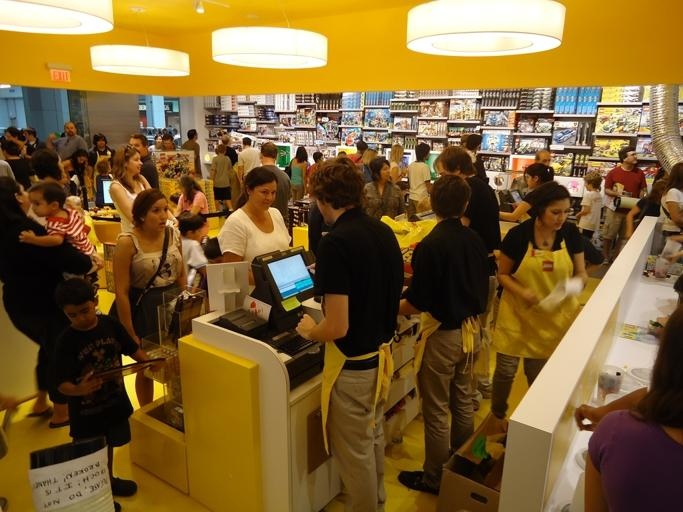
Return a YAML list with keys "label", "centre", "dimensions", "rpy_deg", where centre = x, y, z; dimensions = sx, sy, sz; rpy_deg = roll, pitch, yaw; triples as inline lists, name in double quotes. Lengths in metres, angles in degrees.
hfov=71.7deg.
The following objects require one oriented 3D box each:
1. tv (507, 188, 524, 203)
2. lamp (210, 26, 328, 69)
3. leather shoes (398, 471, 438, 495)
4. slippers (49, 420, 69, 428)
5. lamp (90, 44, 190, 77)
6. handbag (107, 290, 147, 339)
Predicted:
- label: "tv"
  centre: [2.384, -0.823, 6.501]
  dimensions: [0.190, 0.184, 0.050]
  rpy_deg: [0, -6, -36]
- label: "lamp"
  centre: [-0.645, -1.775, 3.927]
  dimensions: [0.718, 0.189, 0.791]
  rpy_deg: [3, 10, 7]
- label: "leather shoes"
  centre: [0.523, 1.544, 3.203]
  dimensions: [0.219, 0.153, 0.077]
  rpy_deg: [24, 27, 39]
- label: "slippers"
  centre: [-1.948, 1.158, 3.274]
  dimensions: [0.122, 0.045, 0.041]
  rpy_deg: [-1, 10, -33]
- label: "lamp"
  centre: [-1.994, -1.928, 4.655]
  dimensions: [0.590, 0.148, 0.607]
  rpy_deg: [0, 10, -10]
- label: "handbag"
  centre: [-1.476, 0.413, 3.295]
  dimensions: [0.332, 0.369, 0.257]
  rpy_deg: [3, 3, 37]
